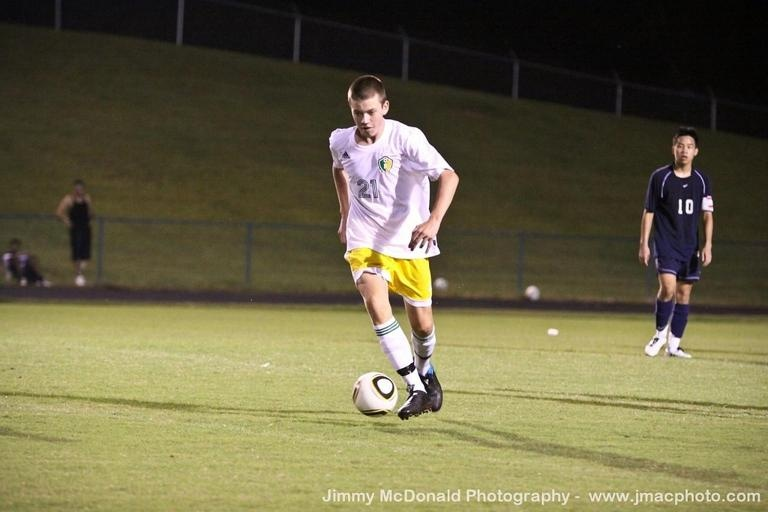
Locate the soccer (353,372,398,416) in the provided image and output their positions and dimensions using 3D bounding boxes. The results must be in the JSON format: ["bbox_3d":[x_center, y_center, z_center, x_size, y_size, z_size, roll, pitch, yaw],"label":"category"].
[{"bbox_3d":[-0.051,1.717,13.108,0.542,0.517,0.518,8,-30,-27],"label":"soccer"}]

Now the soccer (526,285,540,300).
[{"bbox_3d":[3.727,0.892,26.289,0.345,0.188,0.349,-19,-45,39],"label":"soccer"}]

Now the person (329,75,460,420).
[{"bbox_3d":[0.097,-0.119,13.360,1.578,4.226,1.045,2,4,5],"label":"person"}]

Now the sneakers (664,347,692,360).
[{"bbox_3d":[4.640,1.535,16.723,0.460,0.187,0.163,1,4,12],"label":"sneakers"}]

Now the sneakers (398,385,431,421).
[{"bbox_3d":[0.428,1.809,13.081,0.577,0.264,0.200,-18,-4,-31],"label":"sneakers"}]

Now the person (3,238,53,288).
[{"bbox_3d":[-8.064,0.154,23.696,0.923,1.110,0.842,0,4,-21],"label":"person"}]

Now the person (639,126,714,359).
[{"bbox_3d":[4.546,-0.184,16.511,1.127,3.553,0.597,1,4,0],"label":"person"}]
